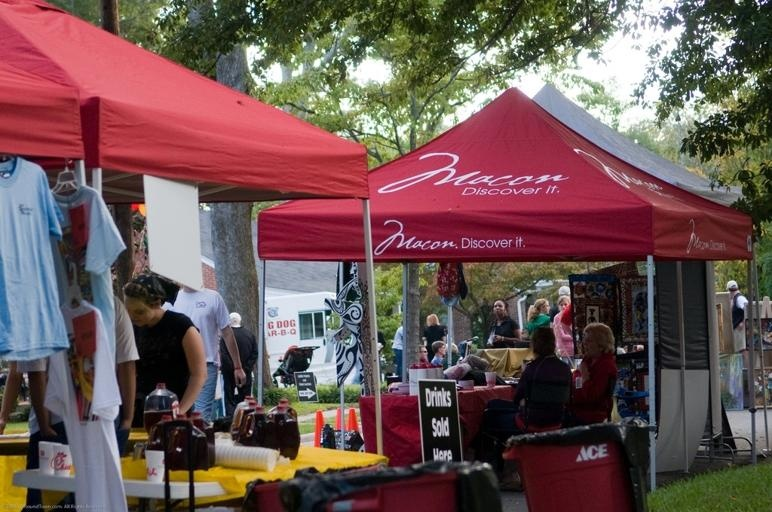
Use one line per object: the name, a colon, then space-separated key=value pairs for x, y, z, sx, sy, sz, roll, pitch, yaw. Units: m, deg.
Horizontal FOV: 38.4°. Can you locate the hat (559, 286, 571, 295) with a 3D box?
hat: x=2.845 y=0.575 z=17.840 sx=0.223 sy=0.233 sz=0.195 roll=-1 pitch=1 yaw=8

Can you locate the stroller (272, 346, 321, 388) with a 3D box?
stroller: x=-2.146 y=2.589 z=26.119 sx=1.086 sy=0.830 sz=0.680 roll=-2 pitch=-5 yaw=36

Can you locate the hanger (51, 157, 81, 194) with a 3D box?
hanger: x=-2.707 y=-0.661 z=9.438 sx=0.222 sy=0.308 sz=0.296 roll=-1 pitch=-9 yaw=-18

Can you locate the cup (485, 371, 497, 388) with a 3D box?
cup: x=1.296 y=1.566 z=13.861 sx=0.153 sy=0.172 sz=0.149 roll=2 pitch=-1 yaw=0

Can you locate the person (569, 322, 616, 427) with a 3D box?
person: x=2.366 y=1.371 z=12.860 sx=0.593 sy=1.149 sz=0.396 roll=-6 pitch=-9 yaw=20

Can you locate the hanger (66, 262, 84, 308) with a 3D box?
hanger: x=-2.606 y=0.240 z=9.338 sx=0.128 sy=0.365 sz=0.040 roll=-6 pitch=-9 yaw=16

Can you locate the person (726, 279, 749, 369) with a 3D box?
person: x=6.553 y=1.172 z=20.740 sx=0.293 sy=1.436 sz=1.315 roll=-6 pitch=-9 yaw=17
